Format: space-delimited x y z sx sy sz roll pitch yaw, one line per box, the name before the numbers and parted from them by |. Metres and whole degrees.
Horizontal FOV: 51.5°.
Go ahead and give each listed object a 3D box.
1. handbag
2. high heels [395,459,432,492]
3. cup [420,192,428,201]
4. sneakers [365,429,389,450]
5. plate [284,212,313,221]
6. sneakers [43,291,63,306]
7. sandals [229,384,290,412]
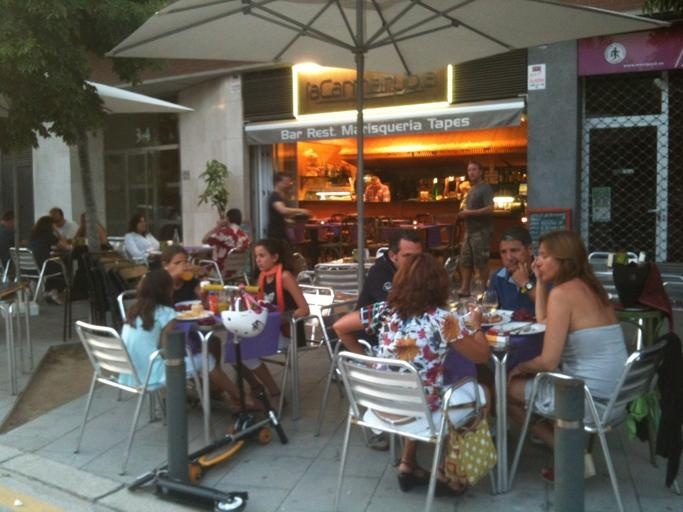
handbag | 0.857 1.345 4.785 0.436 0.472 0.219 -22 9 -35
high heels | 0.511 1.573 5.086 0.301 0.140 0.109 -5 5 -45
cup | 1.754 -1.295 15.254 0.209 0.242 0.216 0 3 0
sneakers | 0.295 1.484 5.720 0.121 0.077 0.172 1 5 9
plate | -0.683 -0.631 11.976 0.276 0.089 0.283 -1 0 36
sneakers | -4.543 0.673 11.208 0.165 0.155 0.291 -10 -1 -7
sandals | -0.701 1.208 5.987 0.575 0.250 0.187 2 9 11
